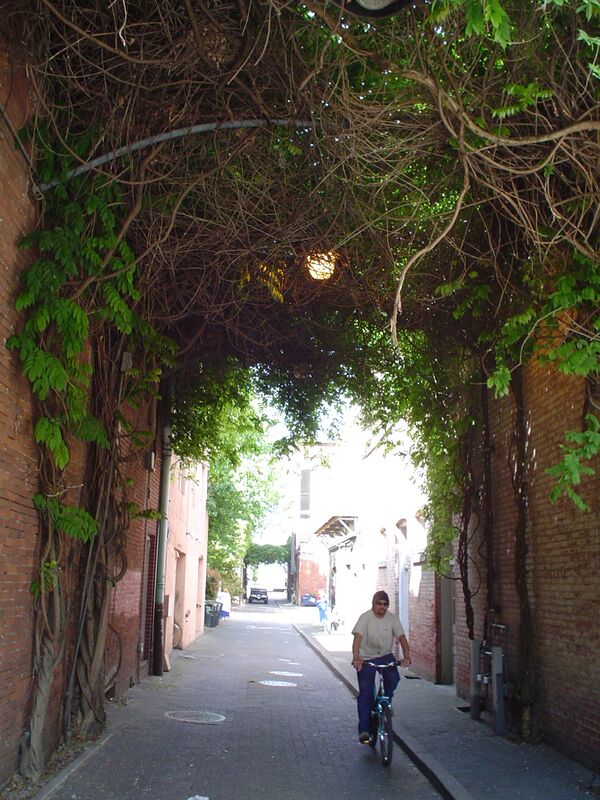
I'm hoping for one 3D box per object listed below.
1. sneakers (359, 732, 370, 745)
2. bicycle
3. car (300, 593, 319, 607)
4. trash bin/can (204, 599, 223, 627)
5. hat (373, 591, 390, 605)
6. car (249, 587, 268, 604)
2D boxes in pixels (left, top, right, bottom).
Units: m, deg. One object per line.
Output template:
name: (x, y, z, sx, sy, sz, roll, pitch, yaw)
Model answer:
sneakers: (0.621, 3.282, 6.601, 0.078, 0.129, 0.257, 0, -8, 1)
bicycle: (0.769, 2.992, 6.586, 0.398, 0.858, 1.184, 1, -12, -3)
car: (0.701, 17.725, 60.064, 1.438, 1.025, 1.273, 3, -14, -5)
trash bin/can: (-3.760, 9.214, 29.243, 0.721, 1.265, 1.113, 2, 1, 0)
hat: (0.814, 1.983, 6.875, 0.096, 0.142, 0.165, 4, -23, 0)
car: (-4.150, 19.496, 67.505, 1.724, 1.547, 2.010, 4, -14, -12)
